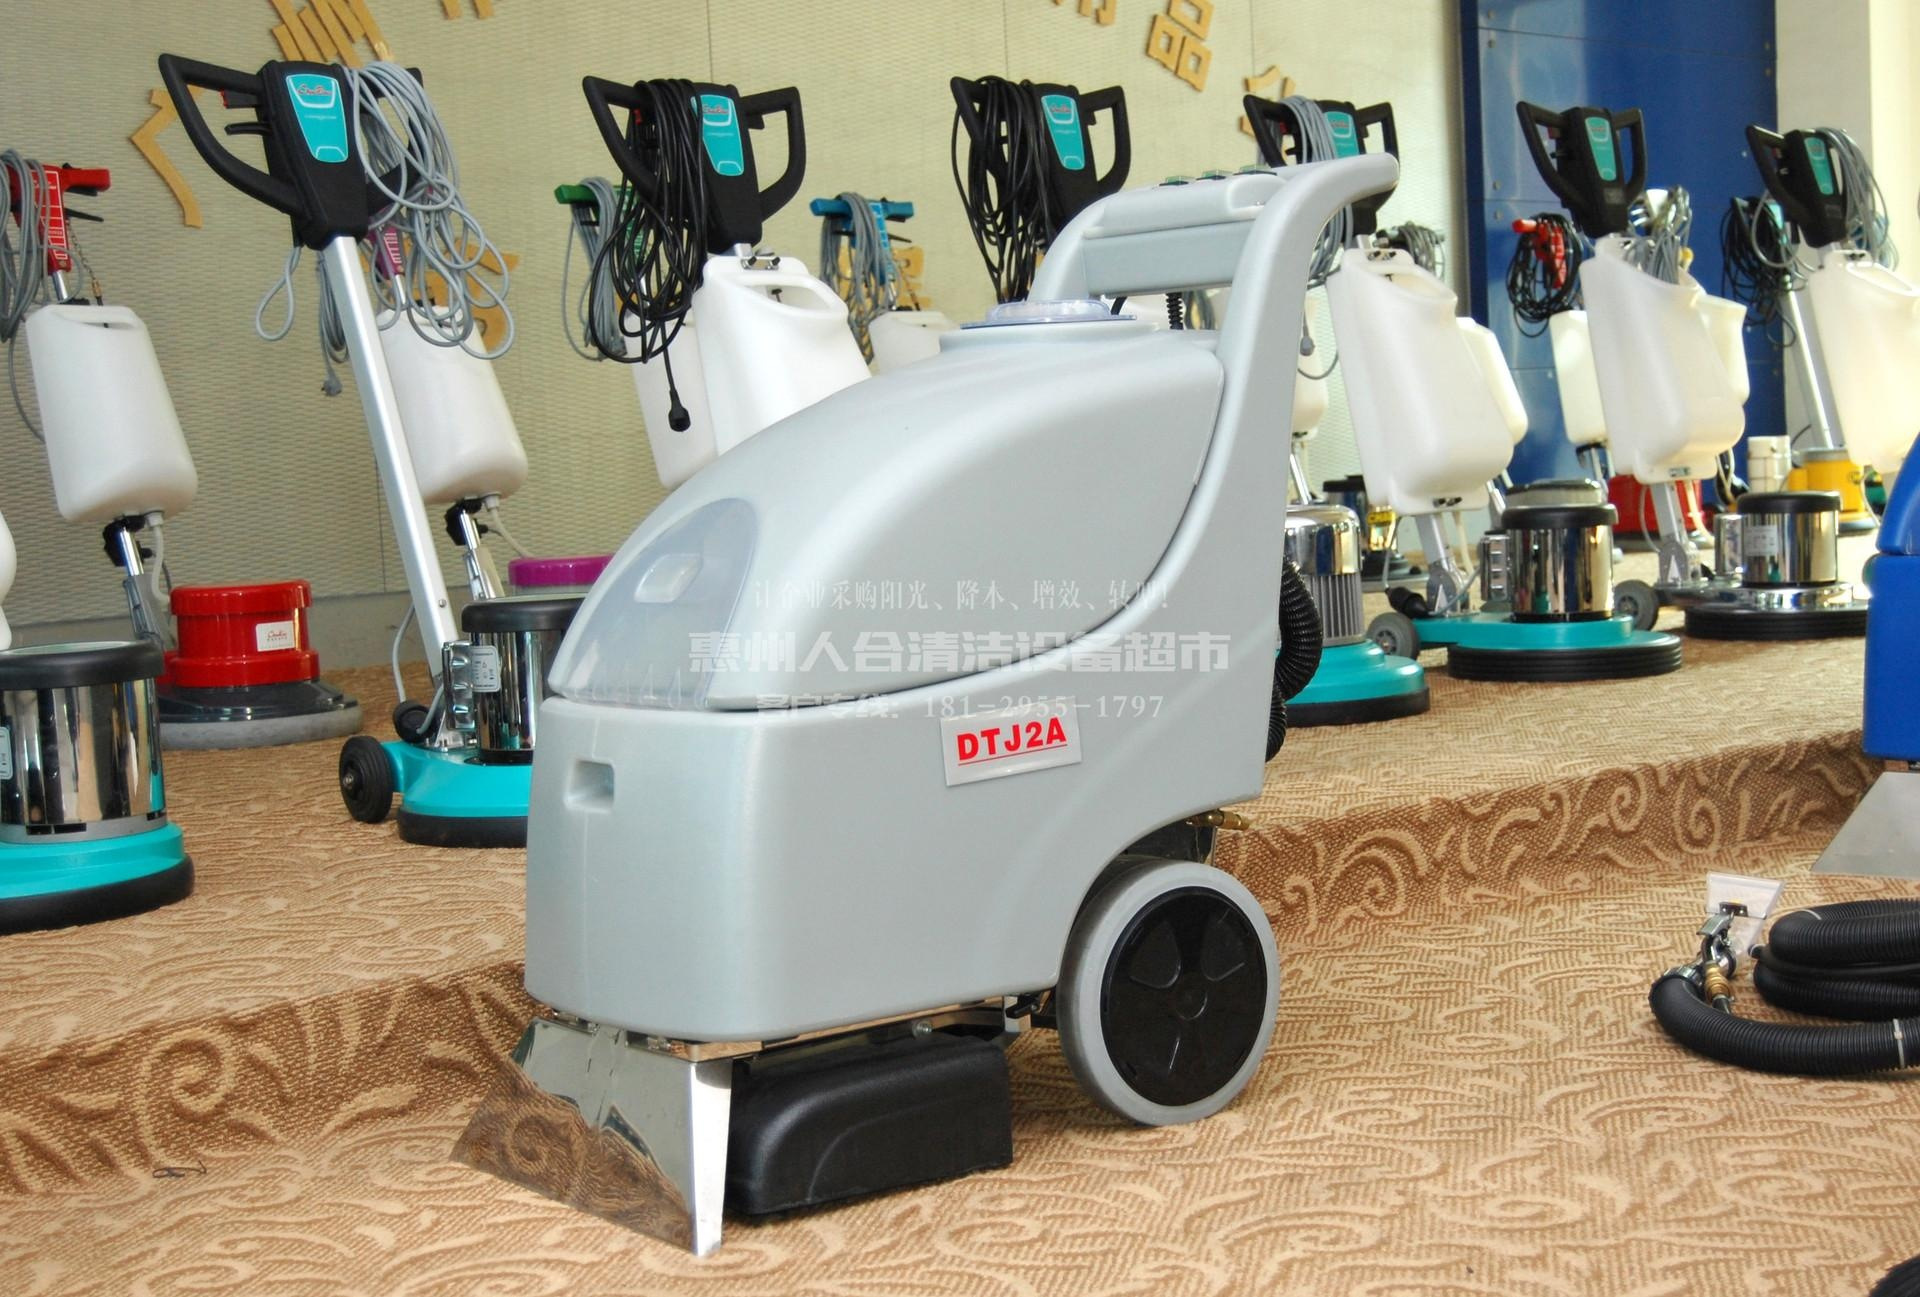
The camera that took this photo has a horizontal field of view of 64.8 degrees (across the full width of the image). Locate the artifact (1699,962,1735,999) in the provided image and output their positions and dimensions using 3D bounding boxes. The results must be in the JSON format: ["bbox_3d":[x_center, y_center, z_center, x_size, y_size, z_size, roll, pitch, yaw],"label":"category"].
[{"bbox_3d":[1.248,0.549,2.483,0.038,0.036,0.117,-16,3,21],"label":"artifact"}]

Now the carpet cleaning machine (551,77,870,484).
[{"bbox_3d":[-0.614,-1.007,4.176,0.711,1.227,0.654,-9,2,-35],"label":"carpet cleaning machine"}]

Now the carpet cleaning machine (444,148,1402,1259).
[{"bbox_3d":[-0.029,-0.008,2.393,1.314,1.482,0.797,-2,3,-36],"label":"carpet cleaning machine"}]

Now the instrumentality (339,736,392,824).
[{"bbox_3d":[-1.350,0.295,3.440,0.193,0.201,0.091,16,17,39],"label":"instrumentality"}]

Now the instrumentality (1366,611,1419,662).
[{"bbox_3d":[1.370,-0.035,4.754,0.055,0.178,0.172,6,-6,-32],"label":"instrumentality"}]

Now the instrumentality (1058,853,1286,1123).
[{"bbox_3d":[0.304,0.511,2.252,0.383,0.395,0.134,-1,1,-33],"label":"instrumentality"}]
